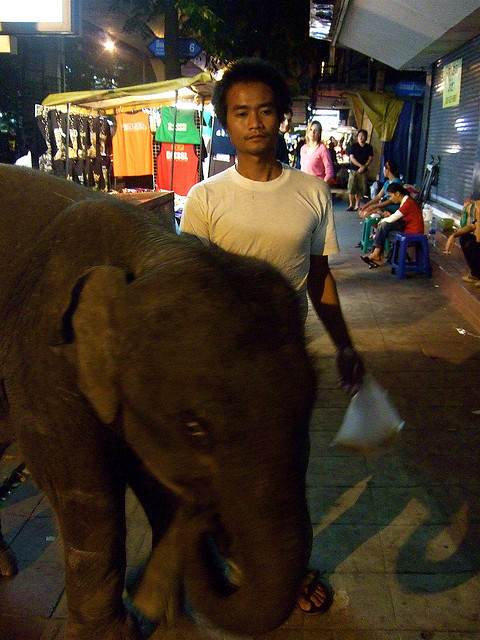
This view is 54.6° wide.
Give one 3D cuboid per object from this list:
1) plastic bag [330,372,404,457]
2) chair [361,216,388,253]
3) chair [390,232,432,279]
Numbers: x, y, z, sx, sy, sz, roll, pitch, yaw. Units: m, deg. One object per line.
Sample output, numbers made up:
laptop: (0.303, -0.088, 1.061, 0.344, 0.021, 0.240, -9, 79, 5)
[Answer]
plastic bag: (0.432, 0.329, 1.594, 0.226, 0.100, 0.279, 2, 35, 5)
chair: (2.586, -1.734, 9.341, 0.640, 0.810, 0.615, 2, 19, 25)
chair: (2.905, -1.103, 7.905, 0.615, 0.685, 0.594, 2, 14, 9)
